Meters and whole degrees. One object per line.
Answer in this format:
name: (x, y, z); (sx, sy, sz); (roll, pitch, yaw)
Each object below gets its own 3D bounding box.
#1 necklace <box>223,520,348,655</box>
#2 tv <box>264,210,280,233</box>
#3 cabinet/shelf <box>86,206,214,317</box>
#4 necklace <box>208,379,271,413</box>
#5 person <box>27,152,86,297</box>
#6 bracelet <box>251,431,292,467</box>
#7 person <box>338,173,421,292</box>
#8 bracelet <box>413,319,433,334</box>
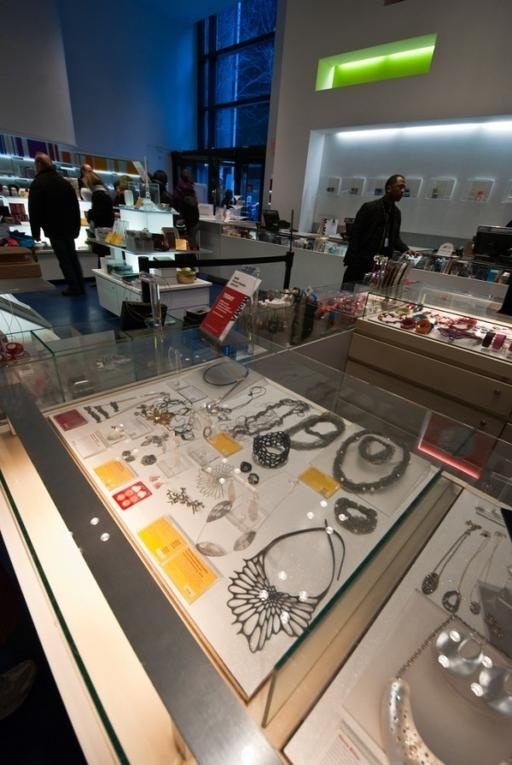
necklace: (0.061, 0.327, 0.746); (0.267, 0.033, 0.148); (-19, 33, -41)
tv: (0.205, -2.016, 5.551); (0.198, 0.233, 0.402); (-1, 25, -12)
cabinet/shelf: (-0.939, -1.062, 4.133); (0.759, 1.076, 1.513); (-11, 29, -31)
necklace: (-0.038, 0.023, 1.250); (0.063, 0.024, 0.203); (30, 34, 30)
person: (-2.093, -1.620, 4.743); (0.376, 1.464, 0.598); (18, 28, 26)
bracelet: (0.041, 0.155, 1.043); (0.057, 0.047, 0.076); (1, 28, -4)
person: (0.956, -1.188, 3.584); (0.494, 0.876, 0.688); (15, 27, 22)
bracelet: (0.971, -0.324, 2.581); (0.089, 0.095, 0.035); (4, -22, 45)
